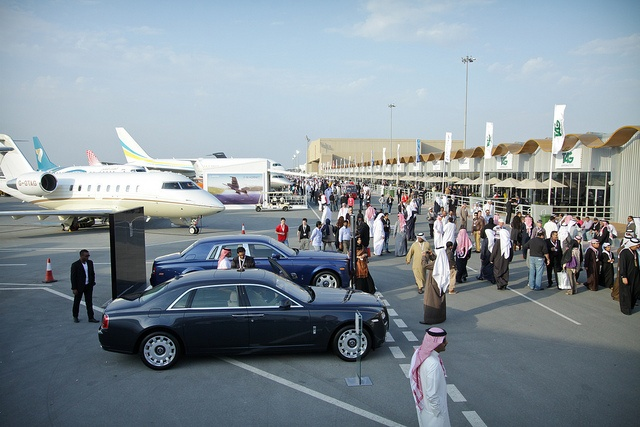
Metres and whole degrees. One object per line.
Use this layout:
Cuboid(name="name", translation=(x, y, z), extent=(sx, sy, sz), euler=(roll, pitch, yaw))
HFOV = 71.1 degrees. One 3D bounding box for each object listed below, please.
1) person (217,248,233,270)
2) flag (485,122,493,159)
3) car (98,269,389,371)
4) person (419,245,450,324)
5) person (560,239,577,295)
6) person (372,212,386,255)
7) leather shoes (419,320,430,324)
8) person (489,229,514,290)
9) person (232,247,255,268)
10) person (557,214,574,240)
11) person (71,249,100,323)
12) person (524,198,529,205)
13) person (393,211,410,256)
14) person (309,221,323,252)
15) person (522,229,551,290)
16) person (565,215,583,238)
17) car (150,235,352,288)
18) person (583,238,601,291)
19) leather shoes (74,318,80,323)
Cuboid(name="person", translation=(-2.994, 1.189, 14.142), extent=(0.513, 0.915, 0.935), euler=(-2, 6, -15))
Cuboid(name="flag", translation=(13.178, -5.665, 34.910), extent=(0.476, 2.644, 1.972), euler=(3, 12, 18))
Cuboid(name="car", translation=(-1.862, 2.704, 11.778), extent=(6.753, 2.116, 2.895), euler=(-2, -1, -5))
Cuboid(name="person", translation=(3.387, 2.134, 13.133), extent=(0.757, 2.235, 0.501), euler=(0, 12, 1))
Cuboid(name="person", translation=(8.868, 1.929, 15.807), extent=(0.515, 1.795, 1.079), euler=(8, 15, 37))
Cuboid(name="person", translation=(2.867, 1.061, 21.638), extent=(0.475, 2.089, 0.562), euler=(2, 12, 14))
Cuboid(name="leather shoes", translation=(3.077, 3.211, 13.222), extent=(0.265, 0.121, 0.093), euler=(-3, 1, 14))
Cuboid(name="person", translation=(6.566, 1.711, 16.246), extent=(0.663, 2.151, 0.651), euler=(5, 13, 26))
Cuboid(name="person", translation=(-2.456, 1.428, 14.281), extent=(0.572, 1.246, 0.428), euler=(-1, -2, 6))
Cuboid(name="person", translation=(10.048, 0.632, 18.354), extent=(0.465, 0.948, 1.111), euler=(6, 14, 30))
Cuboid(name="person", translation=(-7.095, 2.153, 13.349), extent=(0.704, 2.182, 0.917), euler=(-7, 13, -31))
Cuboid(name="person", translation=(16.784, -0.955, 36.383), extent=(0.273, 0.321, 1.152), euler=(13, 14, 14))
Cuboid(name="person", translation=(3.892, 1.019, 21.423), extent=(0.538, 2.237, 0.999), euler=(1, 12, 9))
Cuboid(name="person", translation=(-0.188, 1.141, 21.553), extent=(0.636, 2.303, 0.931), euler=(1, 12, 6))
Cuboid(name="person", translation=(7.823, 1.815, 16.056), extent=(0.747, 2.006, 0.621), euler=(3, 12, 16))
Cuboid(name="person", translation=(10.606, 0.646, 18.634), extent=(0.698, 1.048, 0.358), euler=(6, -7, 43))
Cuboid(name="car", translation=(-2.167, 1.585, 15.351), extent=(6.013, 1.821, 2.598), euler=(-1, 2, -5))
Cuboid(name="person", translation=(9.825, 1.879, 16.137), extent=(0.468, 1.804, 0.398), euler=(6, 13, 30))
Cuboid(name="leather shoes", translation=(-7.289, 3.207, 13.377), extent=(0.113, 0.119, 0.214), euler=(0, -3, 21))
